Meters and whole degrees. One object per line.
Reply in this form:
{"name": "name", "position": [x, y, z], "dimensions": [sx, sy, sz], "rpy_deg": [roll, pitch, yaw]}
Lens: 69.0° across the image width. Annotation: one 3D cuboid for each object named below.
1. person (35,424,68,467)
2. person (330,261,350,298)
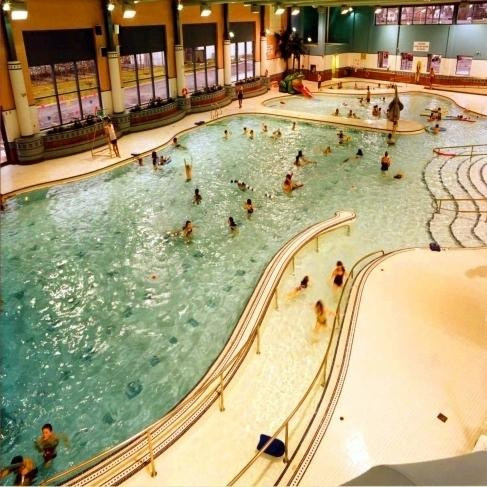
{"name": "person", "position": [-2.867, 3.042, 5.310], "dimensions": [0.360, 0.807, 0.328], "rpy_deg": [7, 22, -9]}
{"name": "person", "position": [2.184, 0.883, 8.078], "dimensions": [0.450, 1.051, 0.290], "rpy_deg": [-2, 23, -1]}
